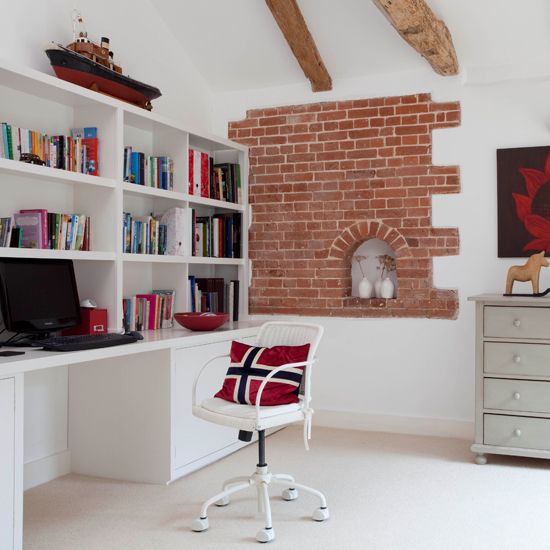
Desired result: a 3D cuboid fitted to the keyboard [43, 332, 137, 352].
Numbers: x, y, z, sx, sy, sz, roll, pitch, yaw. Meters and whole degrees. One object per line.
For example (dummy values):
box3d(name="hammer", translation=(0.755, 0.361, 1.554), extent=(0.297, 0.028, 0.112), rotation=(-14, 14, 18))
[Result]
box3d(name="keyboard", translation=(-0.876, 0.309, 2.435), extent=(0.270, 0.050, 0.598), rotation=(-1, -3, 19))

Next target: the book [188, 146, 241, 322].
box3d(name="book", translation=(-0.461, -0.332, 3.969), extent=(0.258, 1.088, 0.758), rotation=(0, 1, 16))

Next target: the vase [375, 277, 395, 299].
box3d(name="vase", translation=(0.818, 0.099, 4.026), extent=(0.144, 0.185, 0.146), rotation=(9, -9, -35))

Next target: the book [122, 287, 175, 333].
box3d(name="book", translation=(-0.826, 0.233, 3.349), extent=(0.216, 0.302, 0.303), rotation=(2, 1, -35))

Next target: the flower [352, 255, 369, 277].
box3d(name="flower", translation=(0.697, -0.082, 4.193), extent=(0.062, 0.278, 0.159), rotation=(-14, -1, -3))

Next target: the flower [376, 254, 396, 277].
box3d(name="flower", translation=(0.855, -0.080, 4.046), extent=(0.140, 0.143, 0.039), rotation=(3, 4, 32))

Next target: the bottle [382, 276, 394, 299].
box3d(name="bottle", translation=(0.860, 0.106, 3.955), extent=(0.124, 0.192, 0.132), rotation=(0, 0, 0))

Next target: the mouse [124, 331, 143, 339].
box3d(name="mouse", translation=(-0.718, 0.309, 2.630), extent=(0.046, 0.022, 0.067), rotation=(6, 3, 28))

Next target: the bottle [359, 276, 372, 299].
box3d(name="bottle", translation=(0.696, 0.087, 4.034), extent=(0.134, 0.195, 0.134), rotation=(0, -7, 0))

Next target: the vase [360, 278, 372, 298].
box3d(name="vase", translation=(0.693, 0.093, 4.028), extent=(0.124, 0.179, 0.126), rotation=(0, -6, 4))

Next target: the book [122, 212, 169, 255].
box3d(name="book", translation=(-0.829, -0.244, 3.264), extent=(0.223, 0.334, 0.332), rotation=(0, -1, 5))
